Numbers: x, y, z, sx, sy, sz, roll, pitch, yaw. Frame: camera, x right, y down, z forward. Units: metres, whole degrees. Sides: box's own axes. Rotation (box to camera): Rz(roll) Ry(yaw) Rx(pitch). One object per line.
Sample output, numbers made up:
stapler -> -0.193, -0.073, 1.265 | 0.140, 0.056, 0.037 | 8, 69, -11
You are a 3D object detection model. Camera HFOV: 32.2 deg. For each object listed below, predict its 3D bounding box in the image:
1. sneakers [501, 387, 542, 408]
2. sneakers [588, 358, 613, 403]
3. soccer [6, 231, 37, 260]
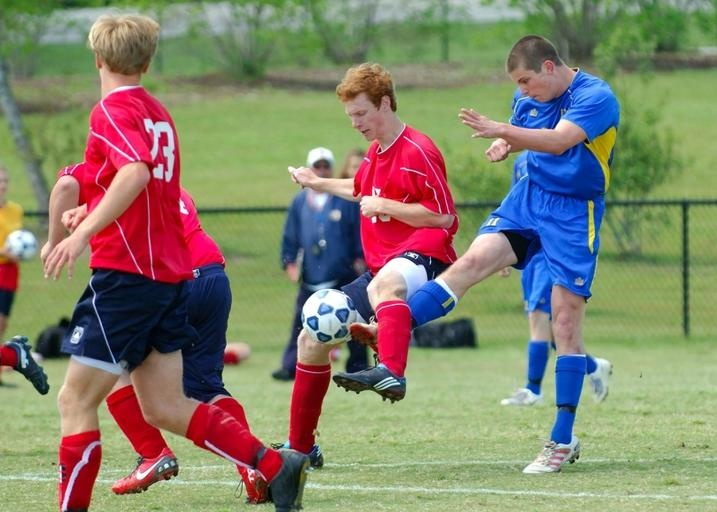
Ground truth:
sneakers -> 1.740, 1.507, 13.272 | 0.498, 0.206, 0.172 | 1, -9, -4
sneakers -> 2.527, 1.273, 13.072 | 0.273, 0.542, 0.187 | -4, 22, -5
soccer -> -4.193, -0.152, 15.350 | 0.397, 0.355, 0.348 | 1, 29, -22
